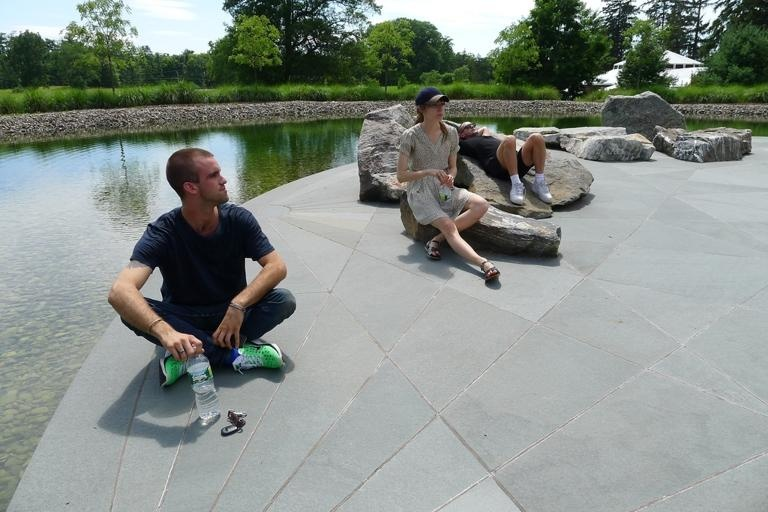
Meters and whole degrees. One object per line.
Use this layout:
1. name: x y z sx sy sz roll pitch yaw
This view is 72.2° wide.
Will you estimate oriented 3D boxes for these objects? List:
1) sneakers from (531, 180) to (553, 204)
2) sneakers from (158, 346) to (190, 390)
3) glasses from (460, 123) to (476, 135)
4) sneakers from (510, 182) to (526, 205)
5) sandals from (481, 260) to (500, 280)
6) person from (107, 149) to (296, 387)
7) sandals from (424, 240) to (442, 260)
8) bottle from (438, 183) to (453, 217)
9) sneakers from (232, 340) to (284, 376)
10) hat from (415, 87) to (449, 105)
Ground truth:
1. sneakers: 2.153 -0.879 7.215 0.153 0.187 0.436 -29 54 -5
2. sneakers: -1.725 0.914 4.296 0.213 0.255 0.170 -9 23 -24
3. glasses: 1.221 -1.895 7.789 0.183 0.210 0.169 17 33 -6
4. sneakers: 1.760 -0.824 6.980 0.197 0.278 0.266 6 21 13
5. sandals: 1.095 0.159 5.450 0.108 0.087 0.280 -12 11 -4
6. person: -1.505 0.081 4.300 1.537 1.712 1.144 -8 19 -36
7. sandals: 0.556 -0.065 6.030 0.191 0.128 0.500 -1 8 -1
8. bottle: 0.712 -0.678 6.109 0.219 0.273 0.222 -6 -9 10
9. sneakers: -1.062 0.800 4.435 0.544 0.227 0.215 -3 27 19
10. hat: 0.534 -1.769 5.948 0.313 0.149 0.218 -7 16 17
